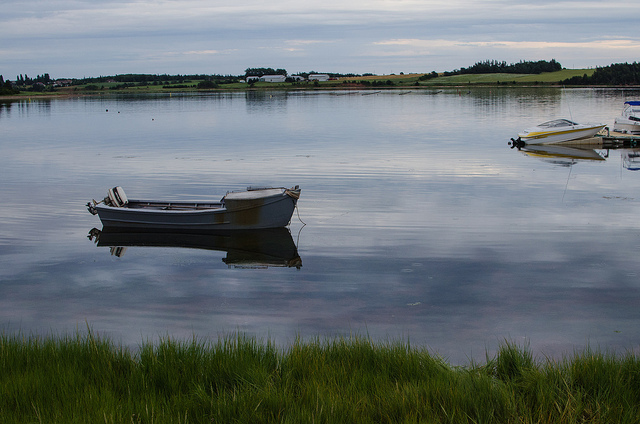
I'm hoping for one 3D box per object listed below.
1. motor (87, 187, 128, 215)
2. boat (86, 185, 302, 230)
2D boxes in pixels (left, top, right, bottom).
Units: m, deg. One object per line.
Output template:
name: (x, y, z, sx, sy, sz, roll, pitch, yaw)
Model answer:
motor: (-10.792, -0.480, 47.597, 2.369, 1.000, 1.473, -16, -1, 7)
boat: (-6.249, -0.248, 46.595, 10.810, 2.126, 2.773, 0, 12, 10)
